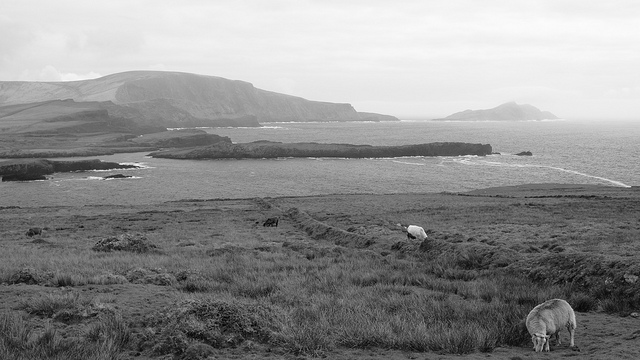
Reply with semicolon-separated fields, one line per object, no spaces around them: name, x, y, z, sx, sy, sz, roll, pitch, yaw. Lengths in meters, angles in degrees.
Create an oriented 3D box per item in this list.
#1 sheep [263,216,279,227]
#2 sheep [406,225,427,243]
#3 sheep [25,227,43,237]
sheep;-4.975;4.309;58.258;1.640;0.708;1.095;-2;5;-22
sheep;8.298;4.571;49.292;1.612;1.049;0.870;1;5;14
sheep;-26.607;4.860;53.613;0.938;0.404;1.278;5;7;-8
